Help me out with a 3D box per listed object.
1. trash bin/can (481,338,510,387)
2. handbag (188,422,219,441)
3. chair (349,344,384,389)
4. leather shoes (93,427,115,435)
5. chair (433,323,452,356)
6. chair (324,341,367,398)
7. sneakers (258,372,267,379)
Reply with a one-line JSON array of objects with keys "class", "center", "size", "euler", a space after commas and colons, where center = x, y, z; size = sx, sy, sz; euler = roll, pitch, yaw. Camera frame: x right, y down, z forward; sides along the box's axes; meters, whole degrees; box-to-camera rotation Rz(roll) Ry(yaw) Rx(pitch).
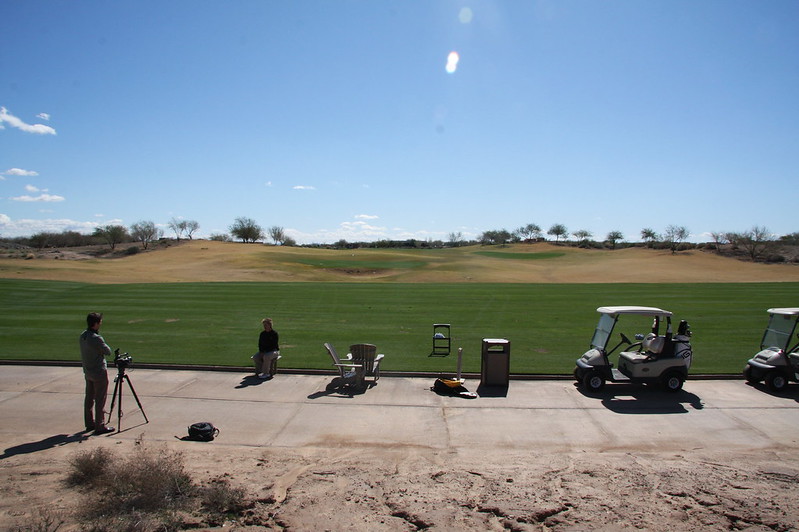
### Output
[{"class": "trash bin/can", "center": [2.897, 2.951, 15.951], "size": [0.829, 1.430, 0.736], "euler": [3, 15, 7]}, {"class": "handbag", "center": [-4.796, 4.069, 12.742], "size": [0.723, 0.324, 0.514], "euler": [-4, 14, -18]}, {"class": "chair", "center": [-1.100, 3.033, 15.915], "size": [1.308, 1.115, 1.376], "euler": [7, -5, -14]}, {"class": "leather shoes", "center": [-7.286, 4.104, 12.917], "size": [0.491, 0.170, 0.164], "euler": [-1, 5, -21]}, {"class": "chair", "center": [1.690, 3.043, 21.260], "size": [1.074, 1.288, 0.953], "euler": [0, -9, 3]}, {"class": "chair", "center": [-1.681, 3.173, 16.049], "size": [1.416, 1.065, 0.920], "euler": [7, -7, -10]}, {"class": "sneakers", "center": [-4.317, 3.482, 16.433], "size": [0.147, 0.105, 0.274], "euler": [3, 1, -5]}]
